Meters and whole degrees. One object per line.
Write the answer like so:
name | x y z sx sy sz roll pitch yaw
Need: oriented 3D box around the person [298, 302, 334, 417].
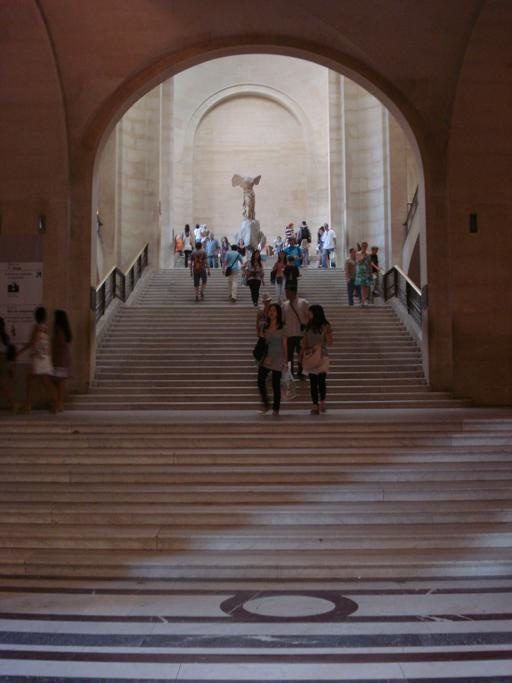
person | 0.731 0.219 7.545 0.328 1.300 0.756 -1 6 5

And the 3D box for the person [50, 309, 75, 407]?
person | -2.428 0.212 8.496 0.263 1.217 0.999 -3 7 -16

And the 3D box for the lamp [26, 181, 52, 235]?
lamp | -2.840 -1.890 8.978 0.296 0.799 0.130 0 6 16

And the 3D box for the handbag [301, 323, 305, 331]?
handbag | 0.660 -0.186 8.452 0.058 0.154 0.070 2 -6 0

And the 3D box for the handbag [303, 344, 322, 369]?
handbag | 0.671 0.177 7.201 0.170 0.255 0.108 -7 -11 27

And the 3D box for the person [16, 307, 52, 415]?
person | -2.709 0.263 8.315 0.407 1.366 1.105 -3 7 -20

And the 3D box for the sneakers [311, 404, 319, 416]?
sneakers | 0.710 0.781 7.352 0.070 0.093 0.197 -1 -8 1

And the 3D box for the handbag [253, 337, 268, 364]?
handbag | 0.110 0.102 7.305 0.062 0.295 0.170 5 -4 -40

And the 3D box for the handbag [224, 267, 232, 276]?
handbag | -0.465 -1.474 13.607 0.134 0.275 0.126 0 -8 4

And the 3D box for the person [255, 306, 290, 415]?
person | 0.214 0.233 7.771 0.367 1.429 1.270 -1 7 0
